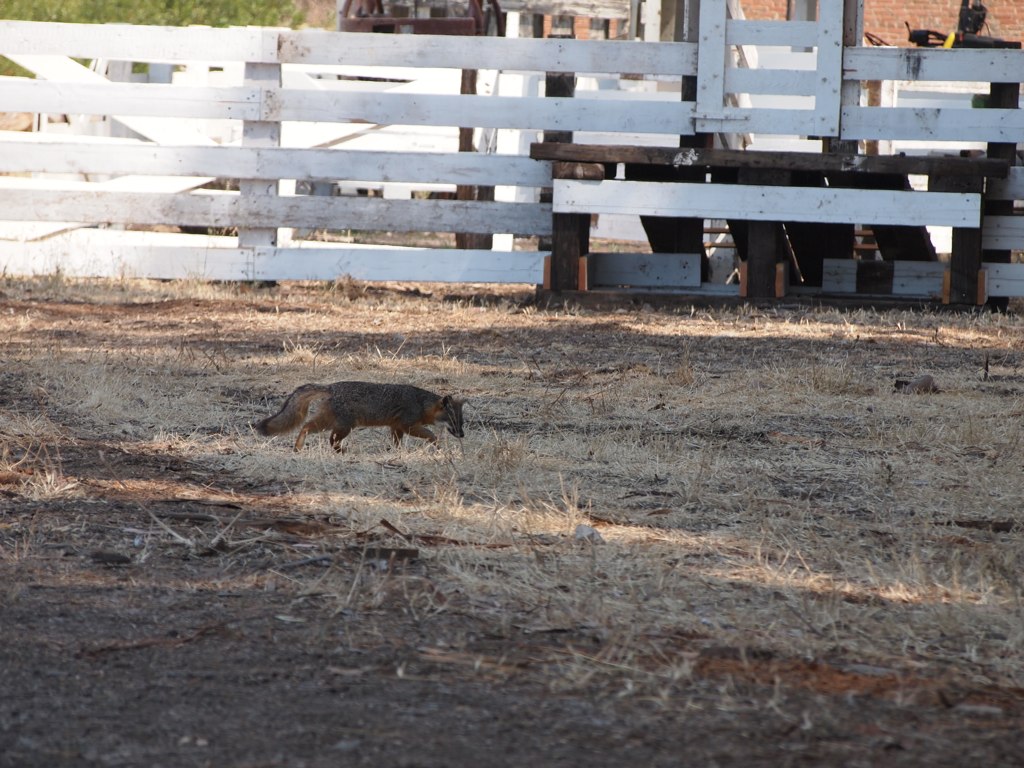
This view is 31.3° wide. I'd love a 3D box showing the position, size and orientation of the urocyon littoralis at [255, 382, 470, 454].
[{"bbox_3d":[-1.042,0.257,12.869,1.532,0.426,0.264,3,1,-30],"label":"urocyon littoralis"}]
